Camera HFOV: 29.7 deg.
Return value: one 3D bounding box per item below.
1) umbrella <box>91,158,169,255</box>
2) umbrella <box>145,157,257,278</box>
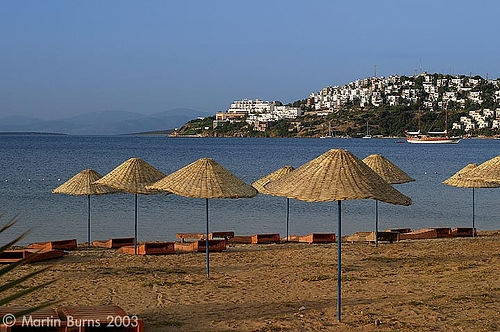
[{"bbox_3d":[-5.566,1.453,43.086,4.706,4.413,4.087,-1,-2,-1],"label":"umbrella"},{"bbox_3d":[-1.929,2.072,41.403,4.318,5.146,5.852,-5,17,-5],"label":"umbrella"}]
